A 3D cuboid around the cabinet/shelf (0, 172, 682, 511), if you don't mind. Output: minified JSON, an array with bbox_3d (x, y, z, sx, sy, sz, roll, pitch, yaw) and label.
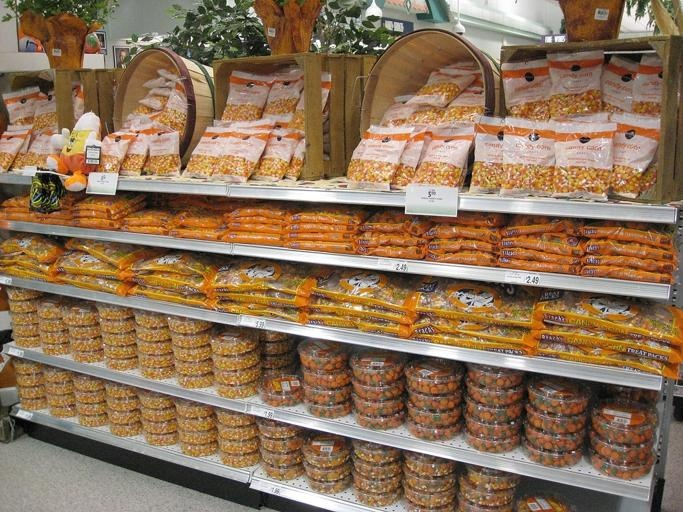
[{"bbox_3d":[0.041,0.438,2.677,2.818,0.653,0.371,4,14,23],"label":"cabinet/shelf"}]

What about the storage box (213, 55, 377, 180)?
[{"bbox_3d":[-0.175,-0.791,3.378,1.202,0.748,0.919,12,18,40],"label":"storage box"}]

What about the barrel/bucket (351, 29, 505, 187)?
[{"bbox_3d":[0.517,-0.880,2.752,0.658,0.488,0.417,10,19,35],"label":"barrel/bucket"}]

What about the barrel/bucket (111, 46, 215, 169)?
[{"bbox_3d":[-1.003,-0.952,3.558,0.839,0.678,0.717,8,16,30],"label":"barrel/bucket"}]
